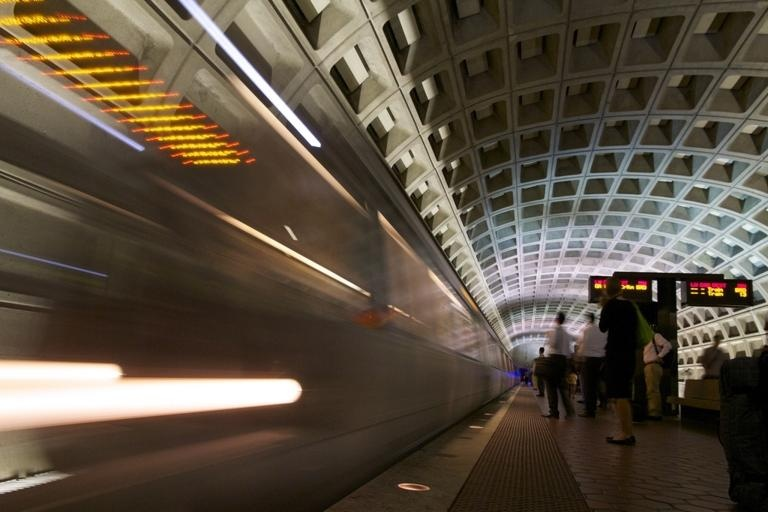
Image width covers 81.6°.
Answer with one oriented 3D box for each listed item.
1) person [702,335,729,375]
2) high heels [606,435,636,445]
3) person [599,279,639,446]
[{"bbox_3d":[6.840,2.103,9.343,0.389,0.900,0.726,-9,-21,33],"label":"person"},{"bbox_3d":[2.873,2.254,5.457,0.389,0.124,0.139,3,-9,4],"label":"high heels"},{"bbox_3d":[2.889,1.265,5.483,0.471,1.993,0.509,-6,-20,25],"label":"person"}]
